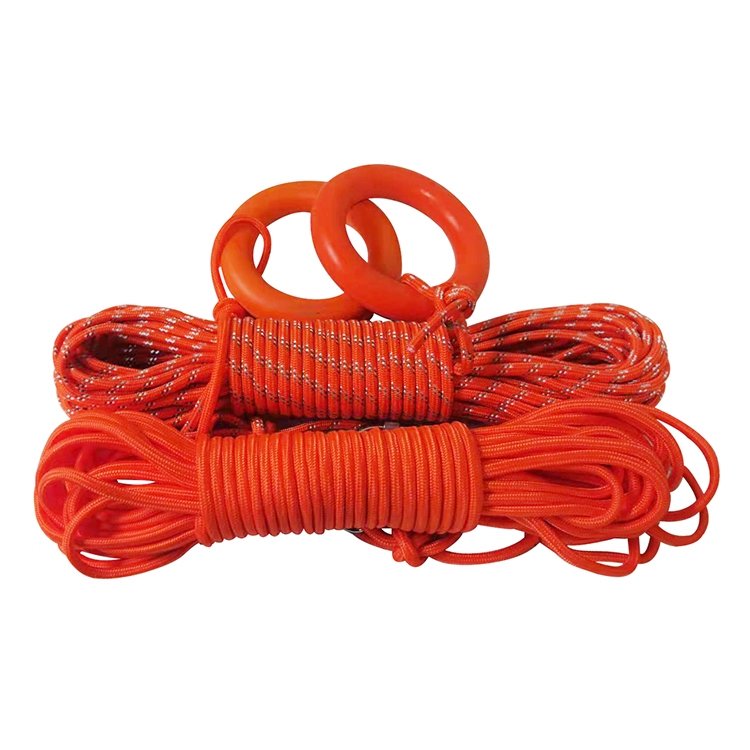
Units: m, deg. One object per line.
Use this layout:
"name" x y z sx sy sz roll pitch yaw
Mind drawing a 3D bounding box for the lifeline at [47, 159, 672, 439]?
"lifeline" -0.036 -0.169 2.456 1.560 0.768 0.370 1 -32 -1
